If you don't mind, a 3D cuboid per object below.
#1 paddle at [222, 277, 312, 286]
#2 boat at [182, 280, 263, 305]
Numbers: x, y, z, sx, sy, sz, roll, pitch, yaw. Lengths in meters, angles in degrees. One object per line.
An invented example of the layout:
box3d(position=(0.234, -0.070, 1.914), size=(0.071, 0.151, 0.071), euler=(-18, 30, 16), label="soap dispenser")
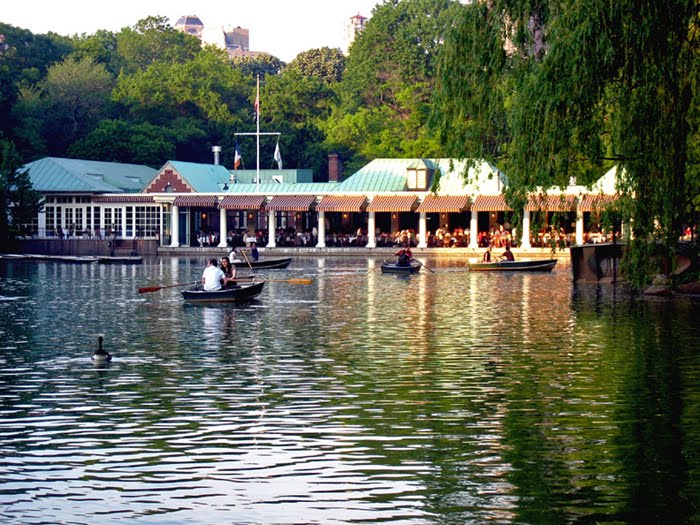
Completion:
box3d(position=(-3.314, 0.749, 53.707), size=(3.081, 0.256, 0.271), euler=(3, 19, 32), label="paddle")
box3d(position=(-4.154, 1.027, 46.774), size=(1.594, 0.763, 3.554), euler=(-3, -3, 26), label="boat")
